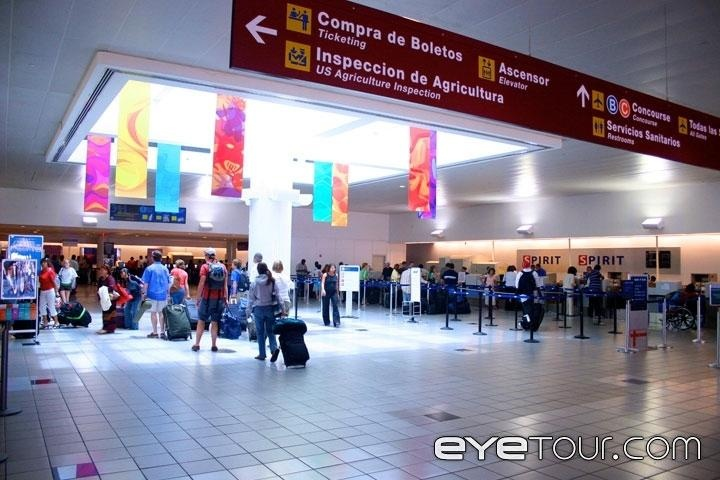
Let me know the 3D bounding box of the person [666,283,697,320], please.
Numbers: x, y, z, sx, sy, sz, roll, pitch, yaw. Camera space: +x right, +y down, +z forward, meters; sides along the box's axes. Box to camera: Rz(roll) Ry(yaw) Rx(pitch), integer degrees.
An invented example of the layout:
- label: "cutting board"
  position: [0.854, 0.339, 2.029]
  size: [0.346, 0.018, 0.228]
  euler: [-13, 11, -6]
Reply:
- label: "person"
  position: [9.891, 1.801, 14.662]
  size: [0.991, 0.985, 0.726]
  euler: [2, -6, 12]

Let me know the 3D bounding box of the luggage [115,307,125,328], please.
- label: "luggage"
  position: [-6.298, 2.007, 12.511]
  size: [0.188, 0.515, 0.374]
  euler: [9, -8, -39]

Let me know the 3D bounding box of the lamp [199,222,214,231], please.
- label: "lamp"
  position: [-7.157, -0.641, 22.182]
  size: [0.458, 0.277, 0.413]
  euler: [1, -1, -31]

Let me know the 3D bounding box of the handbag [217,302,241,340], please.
- label: "handbag"
  position: [-3.128, 1.948, 11.589]
  size: [0.537, 0.792, 0.873]
  euler: [5, -6, -13]

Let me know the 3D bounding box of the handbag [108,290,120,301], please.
- label: "handbag"
  position: [-6.028, 1.349, 11.720]
  size: [0.225, 0.224, 0.245]
  euler: [7, -7, -26]

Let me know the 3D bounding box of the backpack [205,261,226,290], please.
- label: "backpack"
  position: [-2.813, 0.679, 9.305]
  size: [0.360, 0.509, 0.328]
  euler: [6, -7, -17]

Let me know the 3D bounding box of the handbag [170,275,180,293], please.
- label: "handbag"
  position: [-4.460, 1.049, 11.497]
  size: [0.192, 0.380, 0.369]
  euler: [7, -7, -23]

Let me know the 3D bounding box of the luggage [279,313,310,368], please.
- label: "luggage"
  position: [-1.259, 1.831, 8.763]
  size: [0.555, 0.813, 0.511]
  euler: [1, -24, -41]

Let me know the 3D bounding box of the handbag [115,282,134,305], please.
- label: "handbag"
  position: [-6.025, 1.301, 12.098]
  size: [0.556, 0.209, 0.589]
  euler: [15, -28, -33]

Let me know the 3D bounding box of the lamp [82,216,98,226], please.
- label: "lamp"
  position: [-11.482, -0.816, 20.293]
  size: [0.707, 0.415, 0.366]
  euler: [2, -8, -28]

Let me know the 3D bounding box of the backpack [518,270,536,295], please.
- label: "backpack"
  position: [4.337, 1.080, 12.462]
  size: [0.430, 0.638, 0.720]
  euler: [2, -6, 17]

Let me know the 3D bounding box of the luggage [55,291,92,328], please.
- label: "luggage"
  position: [-7.558, 1.936, 12.491]
  size: [0.533, 0.827, 0.918]
  euler: [5, 13, 9]

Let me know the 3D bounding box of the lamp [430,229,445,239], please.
- label: "lamp"
  position: [3.913, -0.339, 24.192]
  size: [0.616, 0.407, 0.453]
  euler: [2, 1, 33]

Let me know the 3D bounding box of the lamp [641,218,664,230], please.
- label: "lamp"
  position: [10.179, -0.535, 16.506]
  size: [0.457, 0.318, 0.489]
  euler: [0, 2, -41]

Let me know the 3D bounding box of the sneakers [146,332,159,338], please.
- label: "sneakers"
  position: [-4.886, 2.206, 11.200]
  size: [0.284, 0.113, 0.109]
  euler: [2, 0, 22]

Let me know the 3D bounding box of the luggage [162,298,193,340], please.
- label: "luggage"
  position: [-4.311, 1.864, 11.044]
  size: [0.605, 0.805, 0.464]
  euler: [6, -19, -44]

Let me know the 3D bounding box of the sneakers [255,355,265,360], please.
- label: "sneakers"
  position: [-1.899, 2.197, 9.057]
  size: [0.200, 0.069, 0.070]
  euler: [4, 0, 28]
